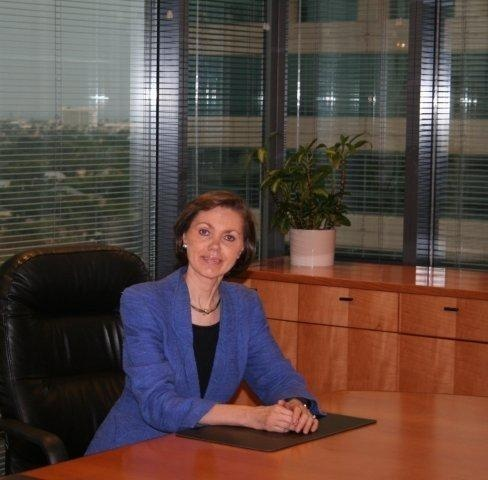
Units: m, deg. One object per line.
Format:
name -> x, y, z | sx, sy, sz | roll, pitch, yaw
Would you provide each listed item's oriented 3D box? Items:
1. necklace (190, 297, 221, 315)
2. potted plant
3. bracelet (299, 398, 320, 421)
necklace -> -0.122, 0.203, 1.573 | 0.084, 0.048, 0.010 | -6, -9, -15
potted plant -> 0.381, -0.234, 3.568 | 1.060, 1.013, 0.894 | -1, 6, -5
bracelet -> 0.180, 0.467, 1.426 | 0.015, 0.039, 0.041 | -32, 20, -20
